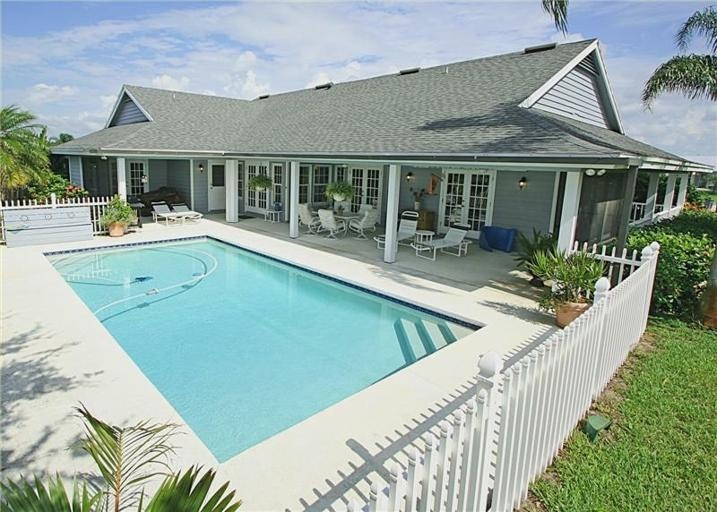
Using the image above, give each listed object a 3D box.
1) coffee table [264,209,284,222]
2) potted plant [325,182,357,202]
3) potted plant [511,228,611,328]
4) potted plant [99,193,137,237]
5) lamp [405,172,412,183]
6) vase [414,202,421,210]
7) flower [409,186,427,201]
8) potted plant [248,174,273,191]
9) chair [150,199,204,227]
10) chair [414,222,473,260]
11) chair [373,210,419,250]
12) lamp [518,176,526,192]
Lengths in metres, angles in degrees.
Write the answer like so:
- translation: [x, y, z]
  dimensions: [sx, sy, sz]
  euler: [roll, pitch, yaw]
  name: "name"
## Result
- translation: [-3.974, -1.834, 20.497]
  dimensions: [0.678, 0.504, 0.918]
  euler: [-4, 8, -34]
  name: "coffee table"
- translation: [-0.839, -2.481, 17.328]
  dimensions: [1.055, 0.581, 0.914]
  euler: [0, 19, -7]
  name: "potted plant"
- translation: [4.327, 0.513, 9.598]
  dimensions: [2.135, 1.590, 1.786]
  euler: [-14, 30, -38]
  name: "potted plant"
- translation: [-9.071, -1.544, 16.355]
  dimensions: [1.611, 1.625, 1.478]
  euler: [-5, 16, -38]
  name: "potted plant"
- translation: [2.039, -3.245, 18.265]
  dimensions: [0.277, 0.430, 0.420]
  euler: [-5, 13, -19]
  name: "lamp"
- translation: [2.377, -2.064, 18.151]
  dimensions: [0.235, 0.277, 0.370]
  euler: [-1, 12, -1]
  name: "vase"
- translation: [2.378, -2.571, 18.192]
  dimensions: [0.662, 0.557, 0.632]
  euler: [10, 19, 31]
  name: "flower"
- translation: [-4.261, -3.301, 19.801]
  dimensions: [1.214, 0.599, 1.185]
  euler: [11, 16, 34]
  name: "potted plant"
- translation: [-8.208, -1.852, 18.985]
  dimensions: [1.367, 0.565, 1.962]
  euler: [-8, 16, -39]
  name: "chair"
- translation: [2.624, -0.357, 13.894]
  dimensions: [1.628, 0.614, 0.643]
  euler: [-7, 11, -19]
  name: "chair"
- translation: [1.302, -0.887, 15.123]
  dimensions: [0.854, 0.979, 1.664]
  euler: [16, 25, 42]
  name: "chair"
- translation: [5.566, -2.461, 14.991]
  dimensions: [0.291, 0.473, 0.172]
  euler: [2, 14, 11]
  name: "lamp"
